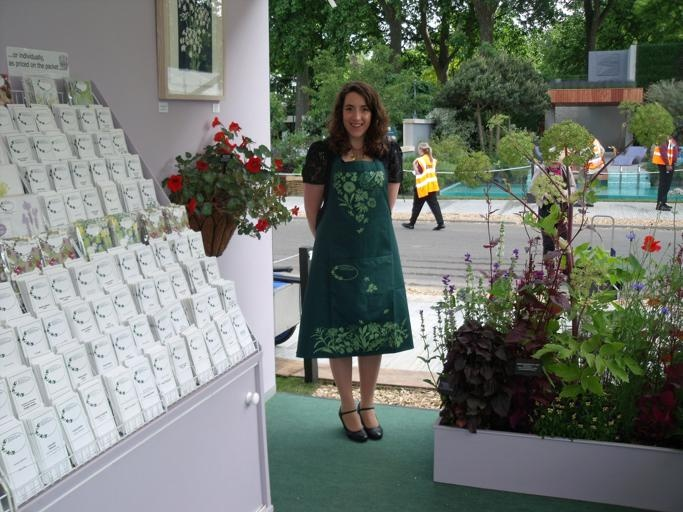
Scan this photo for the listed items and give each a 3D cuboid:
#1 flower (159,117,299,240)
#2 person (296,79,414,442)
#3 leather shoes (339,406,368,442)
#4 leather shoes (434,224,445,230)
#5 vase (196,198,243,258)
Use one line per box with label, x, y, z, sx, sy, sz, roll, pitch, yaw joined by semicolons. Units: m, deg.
flower;-0.713;-0.365;3.135;0.660;0.681;0.652;-7;-17;37
person;0.068;0.073;3.340;0.749;2.334;0.303;-2;10;-3
leather shoes;0.074;1.147;3.530;0.093;0.147;0.313;0;4;-27
leather shoes;2.265;-0.661;12.092;0.094;0.128;0.255;-6;7;-40
vase;-0.729;-0.157;3.031;0.258;0.317;0.267;-1;10;-27
